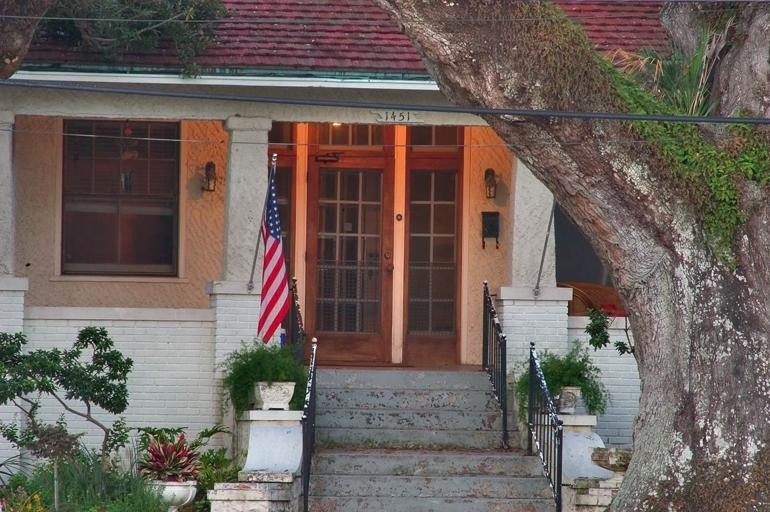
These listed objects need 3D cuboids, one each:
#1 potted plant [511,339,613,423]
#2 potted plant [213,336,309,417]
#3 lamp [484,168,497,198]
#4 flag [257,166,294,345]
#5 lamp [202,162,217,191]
[{"bbox_3d":[2.262,1.538,27.716,1.426,1.044,0.892,1,-7,-22],"label":"potted plant"},{"bbox_3d":[-1.507,1.510,27.330,0.949,1.031,0.927,1,-7,-5],"label":"potted plant"},{"bbox_3d":[1.416,-1.035,29.587,0.164,0.409,0.118,-1,-6,-2],"label":"lamp"},{"bbox_3d":[-1.433,-0.053,27.155,0.358,2.214,0.555,0,-6,-17],"label":"flag"},{"bbox_3d":[-2.366,-1.130,29.461,0.168,0.396,0.122,-1,-6,-6],"label":"lamp"}]
